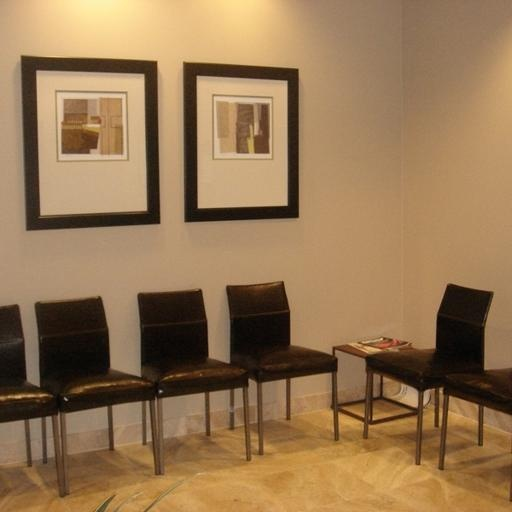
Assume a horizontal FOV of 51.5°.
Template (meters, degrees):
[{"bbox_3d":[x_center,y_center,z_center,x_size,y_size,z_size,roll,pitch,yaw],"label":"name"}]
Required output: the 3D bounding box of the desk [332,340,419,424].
[{"bbox_3d":[0.803,0.816,3.535,0.498,0.523,0.518,-3,4,-31],"label":"desk"}]

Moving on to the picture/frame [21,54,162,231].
[{"bbox_3d":[-0.912,-0.643,2.895,0.932,1.274,0.055,-2,4,-30],"label":"picture/frame"}]

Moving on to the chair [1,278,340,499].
[{"bbox_3d":[-0.339,0.650,2.951,1.540,0.917,0.643,-2,4,-30],"label":"chair"}]
